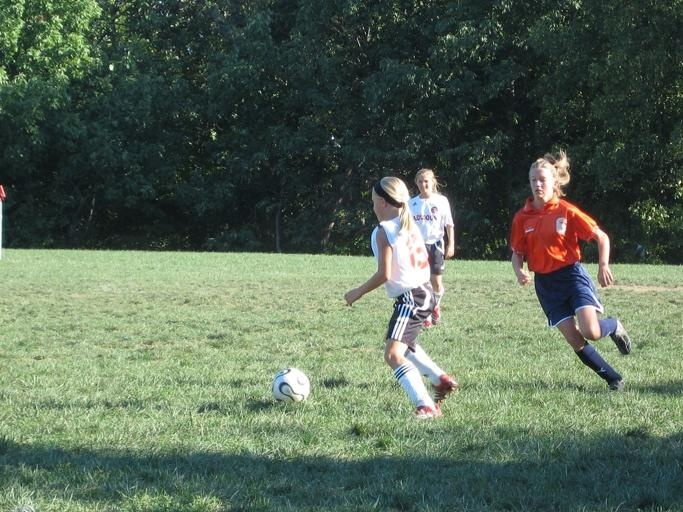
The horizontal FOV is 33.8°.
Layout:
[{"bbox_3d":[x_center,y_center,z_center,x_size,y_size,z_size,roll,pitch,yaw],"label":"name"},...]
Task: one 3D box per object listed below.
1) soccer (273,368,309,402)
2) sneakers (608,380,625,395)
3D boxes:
[{"bbox_3d":[-1.042,2.632,22.807,0.596,0.661,0.671,-14,33,13],"label":"soccer"},{"bbox_3d":[5.611,2.688,23.041,0.278,0.208,0.187,-7,13,-13],"label":"sneakers"}]
